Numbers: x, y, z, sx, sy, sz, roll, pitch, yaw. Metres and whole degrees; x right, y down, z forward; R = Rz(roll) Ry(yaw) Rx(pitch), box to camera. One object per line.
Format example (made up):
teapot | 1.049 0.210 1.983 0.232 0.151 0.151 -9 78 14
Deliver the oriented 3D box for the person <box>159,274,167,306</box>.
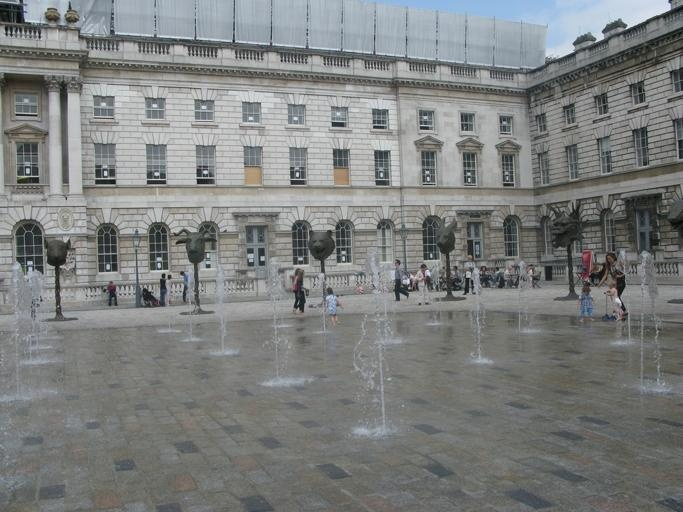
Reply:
person | -9.381 1.762 35.967 0.365 1.390 2.193 -2 6 -14

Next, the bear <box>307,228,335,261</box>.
bear | -0.811 -0.431 26.755 1.214 1.610 1.156 0 -1 -3

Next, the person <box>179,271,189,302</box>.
person | -8.560 1.642 37.414 0.387 1.553 2.610 -2 6 -14

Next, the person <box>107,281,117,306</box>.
person | -11.888 1.947 35.472 0.467 1.208 1.568 -3 6 -19

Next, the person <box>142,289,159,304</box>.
person | -9.829 2.117 35.304 0.789 0.820 0.981 -3 6 -15
